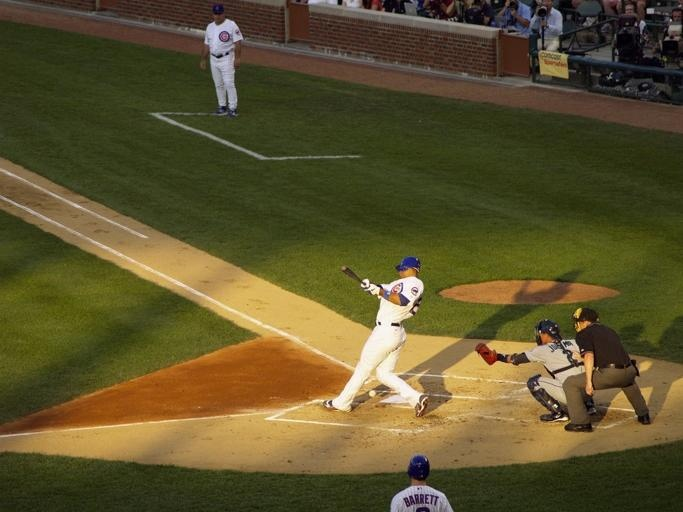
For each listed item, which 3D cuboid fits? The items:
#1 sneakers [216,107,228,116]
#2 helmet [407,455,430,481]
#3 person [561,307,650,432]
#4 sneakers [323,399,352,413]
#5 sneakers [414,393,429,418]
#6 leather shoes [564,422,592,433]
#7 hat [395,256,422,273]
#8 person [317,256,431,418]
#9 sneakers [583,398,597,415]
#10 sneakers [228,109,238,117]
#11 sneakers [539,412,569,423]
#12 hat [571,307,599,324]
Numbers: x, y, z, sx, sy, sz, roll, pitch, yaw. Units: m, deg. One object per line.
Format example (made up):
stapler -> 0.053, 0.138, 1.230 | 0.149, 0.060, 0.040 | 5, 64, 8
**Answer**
sneakers -> -3.077, -3.762, 29.886 | 0.421, 0.228, 0.126 | 8, 46, 8
helmet -> 0.880, 2.399, 13.210 | 0.306, 0.282, 0.323 | 1, 10, -2
person -> 3.869, 1.740, 16.966 | 1.445, 1.653, 1.043 | -20, 23, -12
sneakers -> -0.065, 2.281, 17.464 | 0.500, 0.161, 0.163 | 14, 1, 8
sneakers -> 1.187, 2.211, 17.074 | 0.193, 0.380, 0.155 | 38, 49, 19
leather shoes -> 3.365, 2.447, 16.431 | 0.377, 0.127, 0.141 | 4, 7, 7
hat -> 0.993, 0.114, 16.946 | 0.375, 0.148, 0.231 | 2, 5, 11
person -> 0.663, 1.260, 17.048 | 1.432, 2.475, 0.883 | 6, 23, -1
sneakers -> 3.602, 2.195, 16.791 | 0.117, 0.291, 0.203 | -11, 35, 8
sneakers -> -2.789, -3.705, 29.719 | 0.197, 0.168, 0.219 | -2, -19, -10
sneakers -> 3.096, 2.349, 16.843 | 0.339, 0.108, 0.143 | 3, 7, 4
hat -> 3.436, 0.854, 16.460 | 0.390, 0.244, 0.265 | 8, 17, 25
